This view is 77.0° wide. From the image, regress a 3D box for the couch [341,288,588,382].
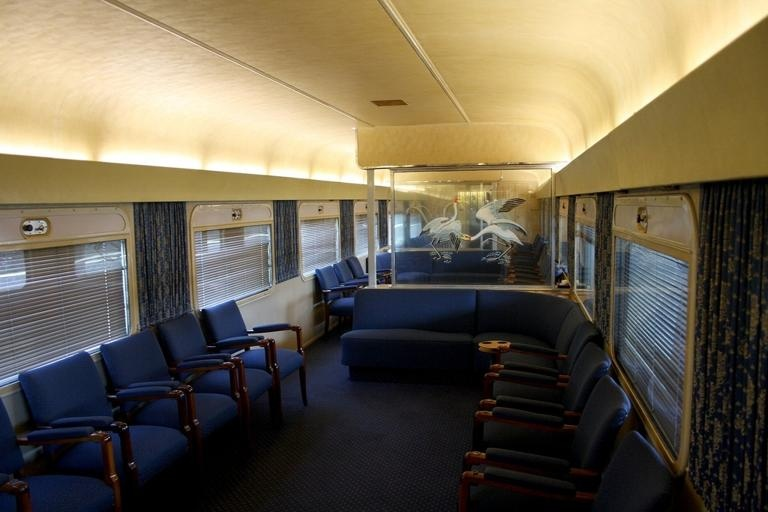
[{"bbox_3d":[1.164,1.169,7.154,3.294,1.177,1.071,1,6,13],"label":"couch"}]
